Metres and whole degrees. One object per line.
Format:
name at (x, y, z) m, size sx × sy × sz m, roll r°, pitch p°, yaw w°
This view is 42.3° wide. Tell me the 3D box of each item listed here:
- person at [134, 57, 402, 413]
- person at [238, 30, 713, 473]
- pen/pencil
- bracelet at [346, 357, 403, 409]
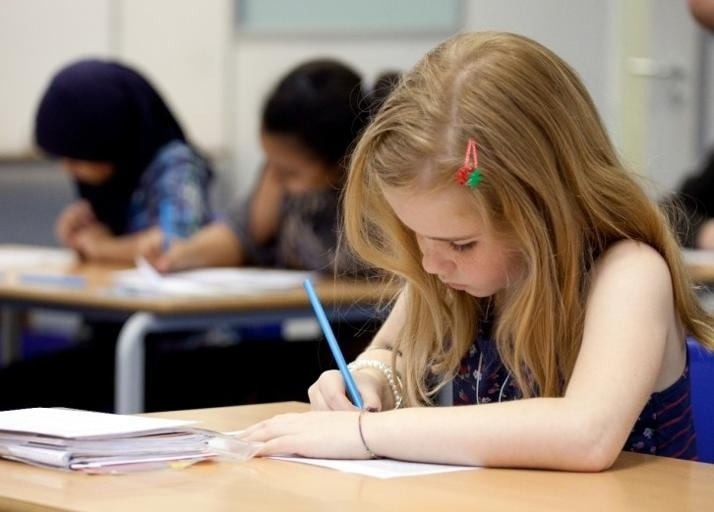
person at (-0.285, -0.196, 2.686) m, size 0.580 × 0.812 × 0.534 m, roll -2°, pitch -1°, yaw -6°
person at (0.205, -0.037, 1.674) m, size 0.714 × 0.701 × 0.660 m, roll 0°, pitch -6°, yaw -22°
pen/pencil at (-0.053, 0.183, 2.126) m, size 0.022 × 0.369 × 0.025 m, roll -18°, pitch -23°, yaw 2°
bracelet at (0.035, 0.213, 1.655) m, size 0.074 × 0.030 × 0.086 m, roll -12°, pitch 41°, yaw -44°
